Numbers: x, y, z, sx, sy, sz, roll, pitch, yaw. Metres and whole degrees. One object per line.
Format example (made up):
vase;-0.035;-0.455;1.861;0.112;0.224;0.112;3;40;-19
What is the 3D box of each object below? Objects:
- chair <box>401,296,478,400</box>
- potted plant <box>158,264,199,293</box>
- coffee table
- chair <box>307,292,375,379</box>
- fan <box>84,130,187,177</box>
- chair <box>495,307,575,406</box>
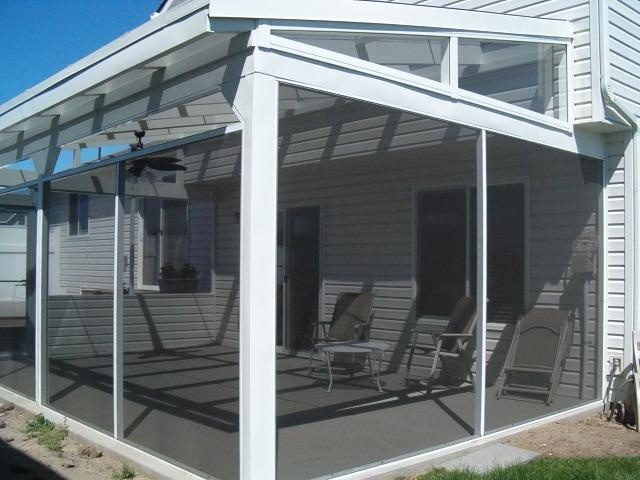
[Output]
chair;1.592;1.336;6.933;0.789;1.088;0.823;3;-3;-13
potted plant;-2.717;0.769;10.400;0.594;0.517;0.617;0;-1;-16
coffee table;0.421;1.600;7.002;1.039;0.502;1.050;19;-25;-38
chair;0.315;1.328;7.727;0.763;1.054;0.926;2;1;34
fan;-2.588;-1.294;7.705;0.962;0.462;0.896;12;29;16
chair;2.598;1.317;6.451;0.703;1.177;0.397;10;-19;33
